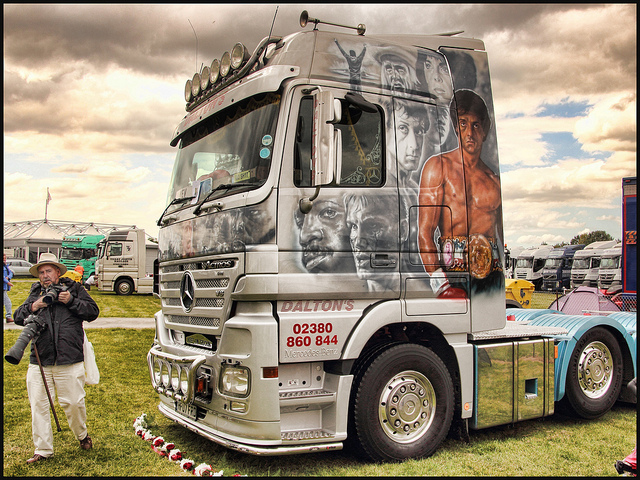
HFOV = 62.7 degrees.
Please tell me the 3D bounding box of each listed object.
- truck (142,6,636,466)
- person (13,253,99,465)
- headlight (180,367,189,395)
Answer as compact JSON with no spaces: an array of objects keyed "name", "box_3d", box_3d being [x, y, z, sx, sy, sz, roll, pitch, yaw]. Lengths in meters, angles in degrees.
[{"name":"truck","box_3d":[0.702,0.154,8.306,7.465,4.661,3.879,3,-4,-33]},{"name":"person","box_3d":[-3.331,1.405,6.589,0.902,2.425,0.736,1,0,-6]},{"name":"headlight","box_3d":[-1.569,1.618,6.041,0.061,0.302,0.265,1,0,-26]}]
